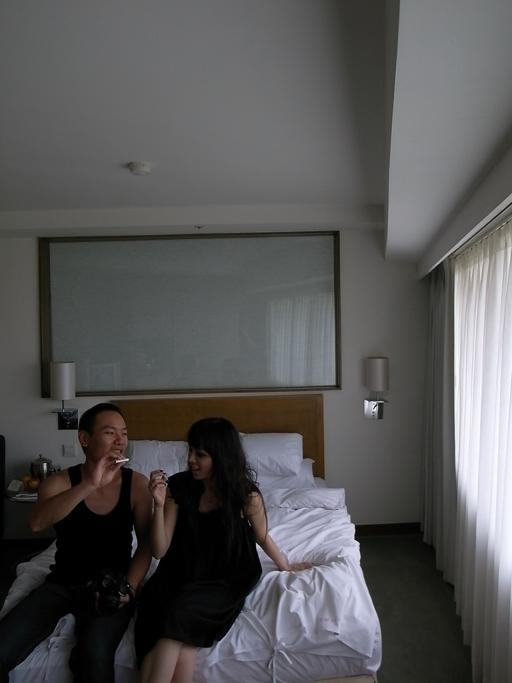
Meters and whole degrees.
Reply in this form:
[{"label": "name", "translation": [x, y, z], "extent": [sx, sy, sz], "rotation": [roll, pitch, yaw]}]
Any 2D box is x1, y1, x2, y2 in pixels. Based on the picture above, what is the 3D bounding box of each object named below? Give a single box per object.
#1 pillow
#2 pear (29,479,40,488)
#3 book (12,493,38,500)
[{"label": "pillow", "translation": [-0.240, 0.821, 3.632], "extent": [0.859, 0.290, 0.599], "rotation": [1, 4, -1]}, {"label": "pear", "translation": [-1.602, 1.021, 3.726], "extent": [0.051, 0.069, 0.060], "rotation": [10, 9, -17]}, {"label": "book", "translation": [-1.607, 1.075, 3.592], "extent": [0.096, 0.032, 0.109], "rotation": [3, 1, -7]}]
